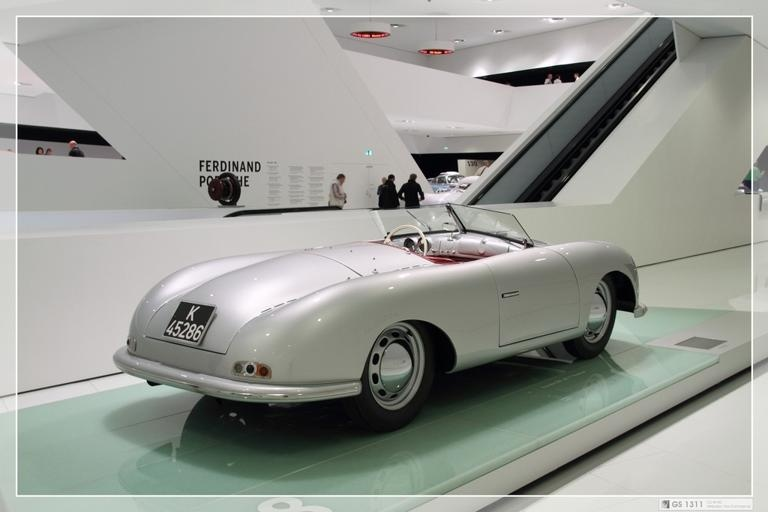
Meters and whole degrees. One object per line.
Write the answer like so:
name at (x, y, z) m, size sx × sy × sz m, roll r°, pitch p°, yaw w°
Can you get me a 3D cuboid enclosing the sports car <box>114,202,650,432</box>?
sports car at (0.299, 0.251, 3.112) m, size 3.326 × 1.151 × 1.588 m, roll -9°, pitch 10°, yaw -37°
